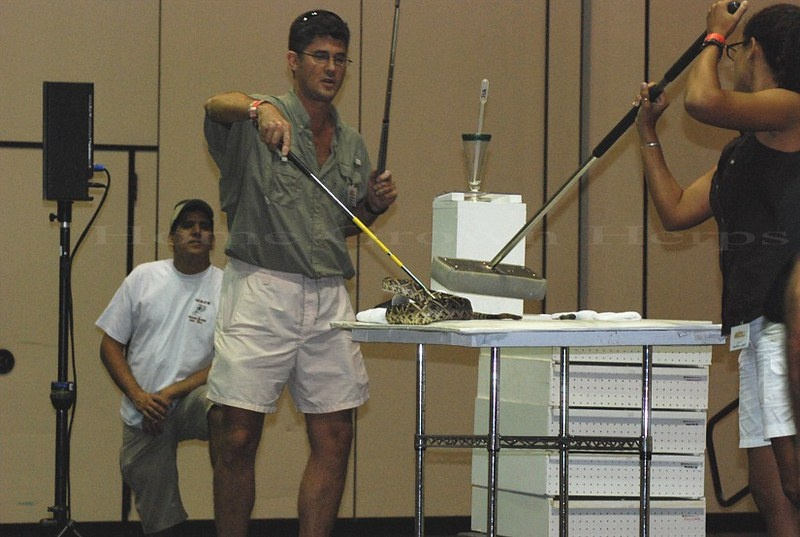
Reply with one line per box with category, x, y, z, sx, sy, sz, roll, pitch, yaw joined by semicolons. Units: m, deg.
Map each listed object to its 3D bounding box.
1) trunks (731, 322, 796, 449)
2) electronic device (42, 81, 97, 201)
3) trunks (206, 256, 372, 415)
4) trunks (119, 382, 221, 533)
trunks;1.702;0.556;9.623;0.139;0.628;0.330;2;-3;-38
electronic device;-1.667;-0.639;10.239;0.199;0.586;0.266;1;4;-27
trunks;-0.563;0.347;9.989;0.667;0.633;0.332;10;-19;-30
trunks;-1.231;1.022;10.548;0.207;0.707;0.702;13;24;34
